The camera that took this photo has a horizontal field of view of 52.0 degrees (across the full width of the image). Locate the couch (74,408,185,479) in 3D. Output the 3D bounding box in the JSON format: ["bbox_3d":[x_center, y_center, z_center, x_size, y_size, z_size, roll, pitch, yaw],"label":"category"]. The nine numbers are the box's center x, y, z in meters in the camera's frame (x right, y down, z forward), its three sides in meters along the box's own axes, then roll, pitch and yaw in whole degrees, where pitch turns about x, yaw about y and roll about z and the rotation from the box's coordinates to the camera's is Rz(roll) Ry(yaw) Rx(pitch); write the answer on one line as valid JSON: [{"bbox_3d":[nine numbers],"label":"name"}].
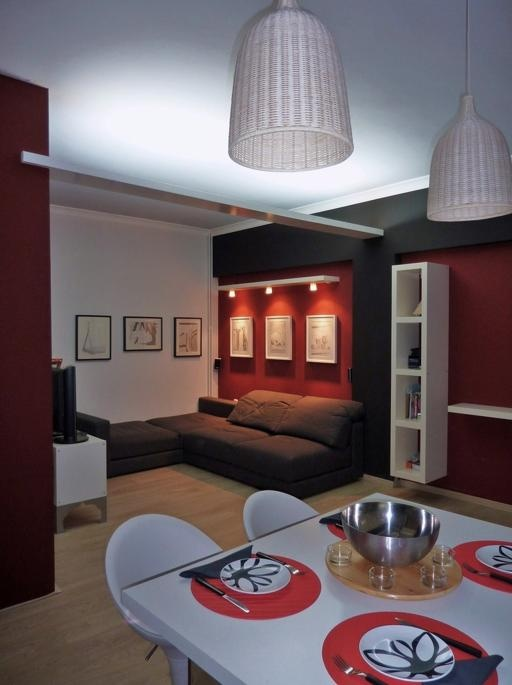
[{"bbox_3d":[-1.250,0.804,5.161,0.840,0.453,0.580,-1,3,-38],"label":"couch"}]

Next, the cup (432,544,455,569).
[{"bbox_3d":[0.532,0.604,1.495,0.056,0.044,0.054,-1,-1,0],"label":"cup"}]

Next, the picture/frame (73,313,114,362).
[{"bbox_3d":[-1.812,-0.050,5.760,0.041,0.640,0.514,1,2,45],"label":"picture/frame"}]

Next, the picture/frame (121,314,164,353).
[{"bbox_3d":[-1.369,-0.102,6.213,0.022,0.350,0.455,-2,-2,39],"label":"picture/frame"}]

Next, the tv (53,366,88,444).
[{"bbox_3d":[-1.307,0.435,3.658,0.219,0.532,0.339,-2,-2,-20],"label":"tv"}]

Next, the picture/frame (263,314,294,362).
[{"bbox_3d":[0.269,-0.045,5.974,0.045,0.638,0.515,5,-5,-40],"label":"picture/frame"}]

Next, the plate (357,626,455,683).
[{"bbox_3d":[0.308,0.639,1.083,0.183,0.034,0.167,-3,-2,-12],"label":"plate"}]

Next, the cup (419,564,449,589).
[{"bbox_3d":[0.467,0.615,1.383,0.045,0.029,0.047,-2,3,0],"label":"cup"}]

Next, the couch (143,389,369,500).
[{"bbox_3d":[0.093,0.924,5.092,1.106,0.795,1.701,-1,-3,-41],"label":"couch"}]

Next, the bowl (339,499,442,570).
[{"bbox_3d":[0.399,0.546,1.513,0.190,0.089,0.192,0,6,0],"label":"bowl"}]

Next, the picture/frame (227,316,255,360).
[{"bbox_3d":[-0.180,-0.052,6.562,0.044,0.628,0.506,3,-5,-40],"label":"picture/frame"}]

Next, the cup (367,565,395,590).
[{"bbox_3d":[0.324,0.614,1.376,0.041,0.026,0.041,-1,3,0],"label":"cup"}]

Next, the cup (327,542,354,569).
[{"bbox_3d":[0.241,0.616,1.511,0.089,0.065,0.102,1,-6,-2],"label":"cup"}]

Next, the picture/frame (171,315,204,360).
[{"bbox_3d":[-0.900,-0.060,6.674,0.047,0.705,0.561,-1,-1,42],"label":"picture/frame"}]
